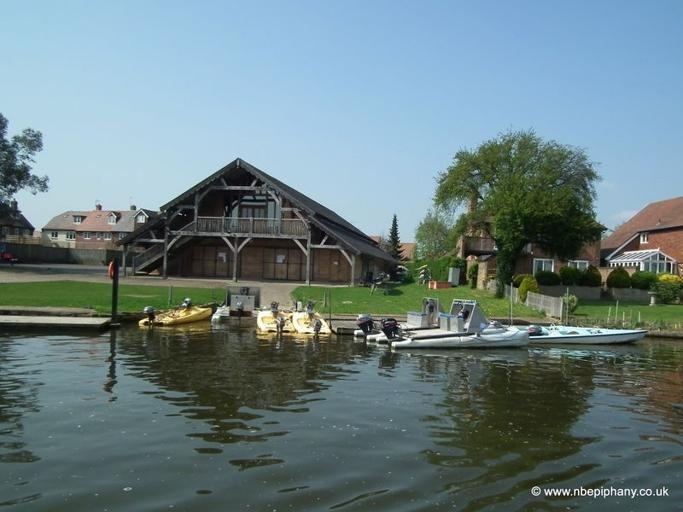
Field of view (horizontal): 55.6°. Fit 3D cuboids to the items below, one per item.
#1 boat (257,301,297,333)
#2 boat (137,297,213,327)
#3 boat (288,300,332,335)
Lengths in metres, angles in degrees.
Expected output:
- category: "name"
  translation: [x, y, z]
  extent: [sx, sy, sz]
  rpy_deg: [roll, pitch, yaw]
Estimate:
- category: "boat"
  translation: [-3.065, 2.871, 30.334]
  extent: [1.945, 0.751, 2.835]
  rpy_deg: [-2, 16, -11]
- category: "boat"
  translation: [-7.875, 2.732, 30.847]
  extent: [1.107, 0.971, 3.285]
  rpy_deg: [3, 4, 26]
- category: "boat"
  translation: [-1.550, 3.151, 30.099]
  extent: [1.363, 0.943, 2.790]
  rpy_deg: [5, 5, -21]
